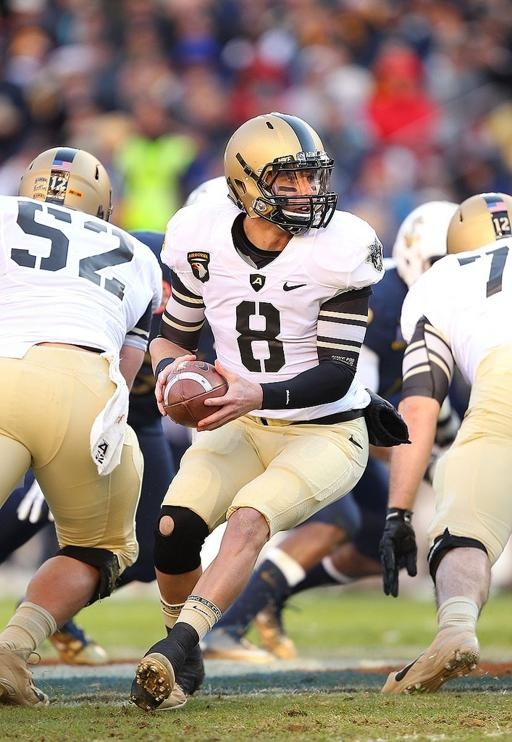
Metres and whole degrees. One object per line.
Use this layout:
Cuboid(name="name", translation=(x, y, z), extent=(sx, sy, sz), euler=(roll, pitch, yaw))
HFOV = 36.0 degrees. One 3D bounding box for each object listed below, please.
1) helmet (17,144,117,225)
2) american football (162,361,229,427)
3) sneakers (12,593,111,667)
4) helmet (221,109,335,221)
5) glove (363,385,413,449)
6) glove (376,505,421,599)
Cuboid(name="helmet", translation=(-0.559, -0.557, 2.304), extent=(0.263, 0.215, 0.347), euler=(1, 12, -10))
Cuboid(name="american football", translation=(-0.136, 0.052, 1.955), extent=(0.155, 0.131, 0.171), euler=(-1, 0, 3))
Cuboid(name="sneakers", translation=(-0.820, 1.148, 3.482), extent=(0.406, 0.179, 0.136), euler=(34, 32, -1))
Cuboid(name="helmet", translation=(0.068, -0.545, 2.129), extent=(0.282, 0.331, 0.324), euler=(1, 12, -7))
Cuboid(name="glove", translation=(0.354, 0.149, 2.175), extent=(0.080, 0.107, 0.210), euler=(2, 11, -6))
Cuboid(name="glove", translation=(0.381, 0.510, 2.134), extent=(0.097, 0.253, 0.232), euler=(6, 13, 10))
